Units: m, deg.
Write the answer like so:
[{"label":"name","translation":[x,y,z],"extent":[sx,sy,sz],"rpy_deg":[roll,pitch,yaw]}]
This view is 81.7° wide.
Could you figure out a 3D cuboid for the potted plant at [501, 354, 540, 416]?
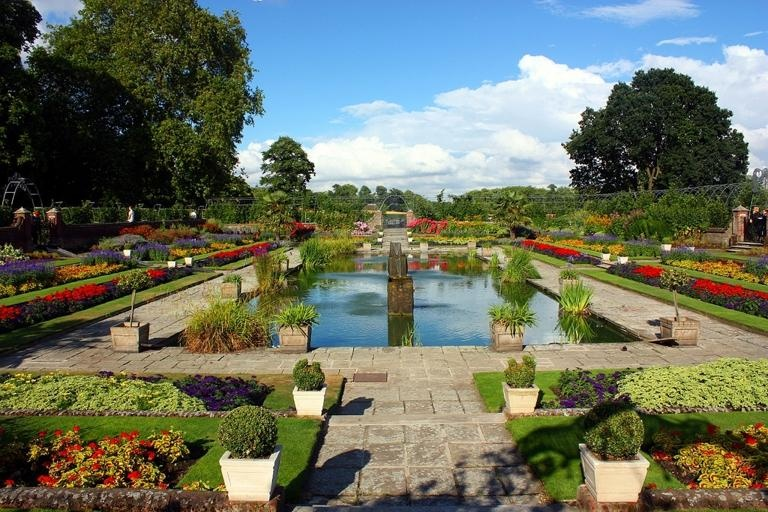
[{"label":"potted plant","translation":[2.364,2.233,7.781],"extent":[0.740,0.835,0.677],"rpy_deg":[5,-3,-22]}]

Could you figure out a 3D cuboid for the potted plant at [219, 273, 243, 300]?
[{"label":"potted plant","translation":[-5.352,1.106,15.841],"extent":[0.906,1.008,0.850],"rpy_deg":[0,1,-4]}]

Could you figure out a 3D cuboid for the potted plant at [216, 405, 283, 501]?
[{"label":"potted plant","translation":[-1.677,2.442,5.505],"extent":[0.721,1.137,0.296],"rpy_deg":[-1,6,1]}]

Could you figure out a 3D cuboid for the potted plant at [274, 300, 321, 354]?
[{"label":"potted plant","translation":[-2.212,1.885,11.301],"extent":[1.192,1.103,1.084],"rpy_deg":[-4,-8,-2]}]

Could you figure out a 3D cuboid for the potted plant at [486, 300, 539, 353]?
[{"label":"potted plant","translation":[3.279,1.760,11.426],"extent":[1.380,1.081,1.305],"rpy_deg":[0,-1,-2]}]

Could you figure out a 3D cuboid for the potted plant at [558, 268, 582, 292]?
[{"label":"potted plant","translation":[6.904,0.909,16.579],"extent":[0.950,0.827,0.799],"rpy_deg":[0,1,-7]}]

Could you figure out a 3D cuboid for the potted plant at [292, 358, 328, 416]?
[{"label":"potted plant","translation":[-1.257,2.273,7.677],"extent":[0.652,0.805,0.547],"rpy_deg":[-4,-3,2]}]

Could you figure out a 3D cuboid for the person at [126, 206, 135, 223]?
[{"label":"person","translation":[-18.175,-2.997,31.868],"extent":[0.444,1.256,2.699],"rpy_deg":[-4,6,-30]}]

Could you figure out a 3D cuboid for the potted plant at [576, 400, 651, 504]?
[{"label":"potted plant","translation":[2.852,2.467,5.568],"extent":[0.719,1.188,0.380],"rpy_deg":[-1,6,-1]}]
